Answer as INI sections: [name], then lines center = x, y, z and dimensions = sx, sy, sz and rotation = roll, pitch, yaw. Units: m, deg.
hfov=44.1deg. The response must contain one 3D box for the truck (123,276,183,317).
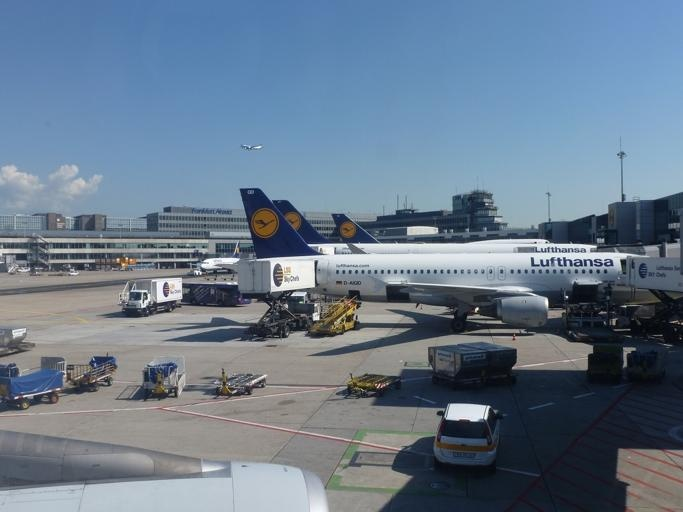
[truck]
center = -16.920, 3.592, 75.610
dimensions = 3.153, 2.610, 7.488
rotation = 0, 0, 15

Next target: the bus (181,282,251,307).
[bus]
center = -13.505, 3.819, 84.311
dimensions = 9.798, 1.783, 2.849
rotation = 2, 3, 21

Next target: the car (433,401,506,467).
[car]
center = 6.046, 8.207, 39.752
dimensions = 4.006, 2.384, 2.605
rotation = 0, 5, 7

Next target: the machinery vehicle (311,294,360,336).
[machinery vehicle]
center = -0.520, 4.727, 64.328
dimensions = 1.893, 1.657, 5.279
rotation = 6, 20, 23

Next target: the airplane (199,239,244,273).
[airplane]
center = -22.602, -0.127, 155.164
dimensions = 7.945, 3.132, 7.854
rotation = 0, 6, 3
